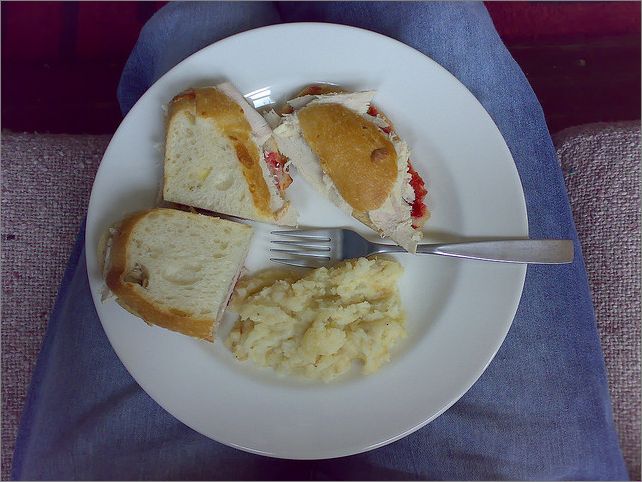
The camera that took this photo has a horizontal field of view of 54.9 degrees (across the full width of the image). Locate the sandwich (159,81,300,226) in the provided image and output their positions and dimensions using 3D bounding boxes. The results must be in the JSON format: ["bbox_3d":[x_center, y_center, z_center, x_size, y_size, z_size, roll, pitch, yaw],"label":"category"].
[{"bbox_3d":[-0.477,-0.382,2.820,0.571,0.163,0.619,-3,96,-1],"label":"sandwich"}]
